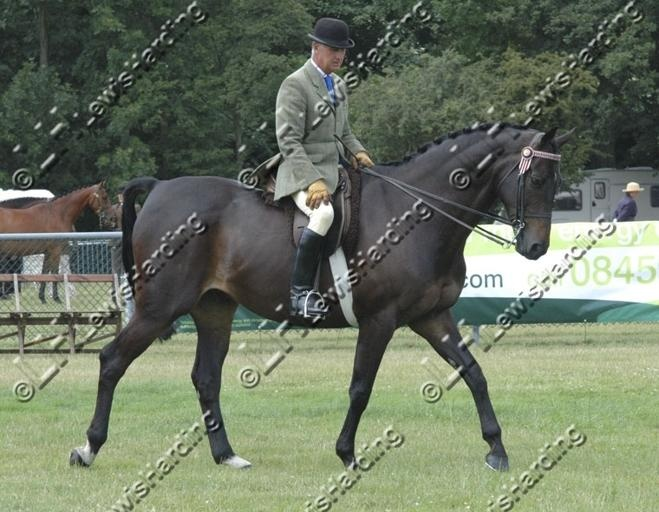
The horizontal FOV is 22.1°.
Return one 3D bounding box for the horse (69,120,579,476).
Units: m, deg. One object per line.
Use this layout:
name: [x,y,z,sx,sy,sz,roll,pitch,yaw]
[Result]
horse: [-0.370,1.015,41.812,12.009,9.414,3.417,1,12,6]
